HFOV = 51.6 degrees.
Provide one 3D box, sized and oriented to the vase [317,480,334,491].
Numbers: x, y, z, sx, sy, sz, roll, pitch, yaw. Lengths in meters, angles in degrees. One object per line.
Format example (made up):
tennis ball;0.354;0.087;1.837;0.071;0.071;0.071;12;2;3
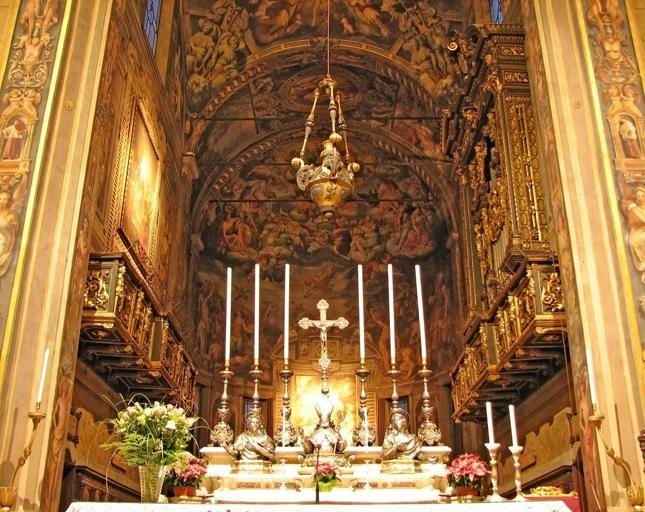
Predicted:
vase;0.025;2.032;5.939;0.079;0.062;0.084;-6;-17;19

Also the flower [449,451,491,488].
flower;1.387;2.022;6.331;0.329;0.358;0.327;6;-5;-31

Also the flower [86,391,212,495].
flower;-1.536;1.782;6.129;0.769;0.902;0.795;-20;-25;34

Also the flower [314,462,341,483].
flower;0.030;1.923;5.928;0.176;0.140;0.190;0;-5;13

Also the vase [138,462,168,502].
vase;-1.473;1.957;5.757;0.228;0.323;0.347;4;-25;-13

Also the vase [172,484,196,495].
vase;-1.398;2.350;6.692;0.124;0.055;0.136;0;-28;4

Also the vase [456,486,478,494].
vase;1.357;2.224;6.330;0.128;0.064;0.126;-24;-34;38
